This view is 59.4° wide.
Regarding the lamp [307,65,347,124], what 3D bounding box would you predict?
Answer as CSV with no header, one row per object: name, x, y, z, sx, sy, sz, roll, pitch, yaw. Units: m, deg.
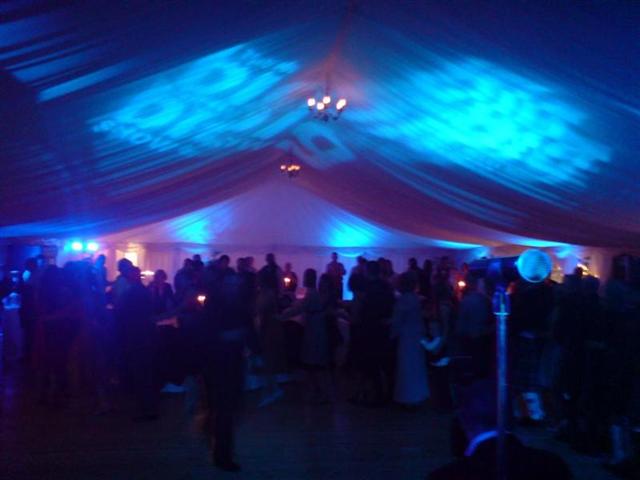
lamp,0.076,-2.000,7.833,0.432,0.600,0.440,-10,15,-24
